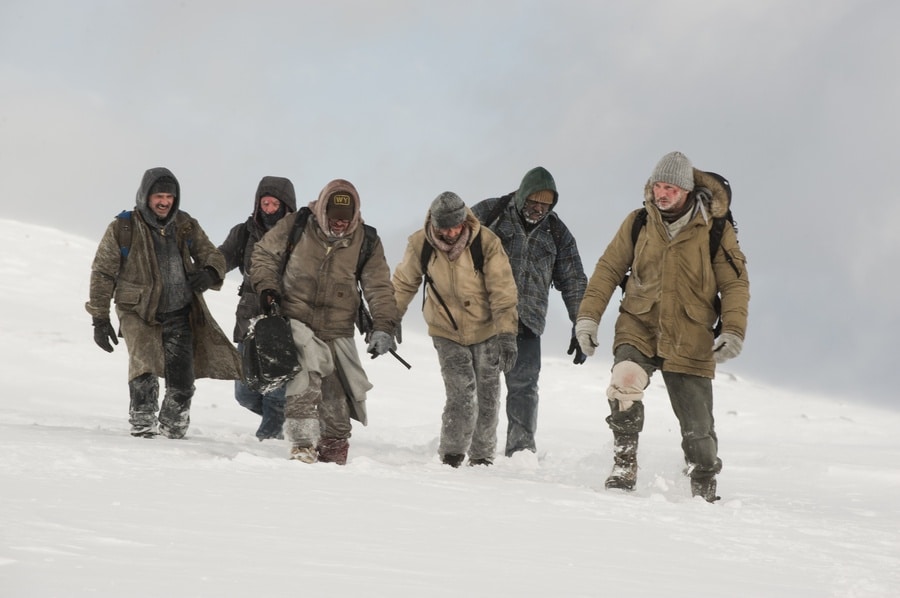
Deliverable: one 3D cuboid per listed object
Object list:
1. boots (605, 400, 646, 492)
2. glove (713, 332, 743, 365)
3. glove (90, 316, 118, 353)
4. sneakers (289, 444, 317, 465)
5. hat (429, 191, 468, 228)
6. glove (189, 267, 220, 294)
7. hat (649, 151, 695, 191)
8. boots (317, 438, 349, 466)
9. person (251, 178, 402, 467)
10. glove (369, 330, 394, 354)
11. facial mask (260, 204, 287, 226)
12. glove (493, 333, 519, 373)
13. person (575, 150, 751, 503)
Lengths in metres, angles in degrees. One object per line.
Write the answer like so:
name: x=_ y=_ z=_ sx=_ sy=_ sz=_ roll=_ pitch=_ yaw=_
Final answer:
boots: x=1.830 y=1.548 z=13.768 sx=0.383 sy=0.957 sz=0.354 roll=7 pitch=-6 yaw=7
glove: x=2.859 y=0.501 z=13.414 sx=0.358 sy=0.290 sz=0.265 roll=4 pitch=-7 yaw=33
glove: x=-3.915 y=0.402 z=14.683 sx=0.285 sy=0.250 sz=0.444 roll=9 pitch=-6 yaw=-15
sneakers: x=-1.556 y=1.662 z=13.908 sx=0.293 sy=0.164 sz=0.325 roll=8 pitch=-5 yaw=-6
hat: x=-0.020 y=-0.960 z=14.378 sx=0.431 sy=0.398 sz=0.358 roll=8 pitch=-6 yaw=-1
glove: x=-2.792 y=-0.192 z=14.804 sx=0.462 sy=0.337 sz=0.222 roll=-1 pitch=12 yaw=-9
hat: x=2.346 y=-1.352 z=13.793 sx=0.491 sy=0.416 sz=0.486 roll=11 pitch=12 yaw=8
boots: x=-1.295 y=1.745 z=14.564 sx=0.316 sy=0.300 sz=0.259 roll=-1 pitch=-5 yaw=24
person: x=-1.398 y=0.257 z=14.310 sx=1.603 sy=3.045 sz=0.858 roll=9 pitch=-6 yaw=-13
glove: x=-0.749 y=0.501 z=14.248 sx=0.305 sy=0.287 sz=0.265 roll=8 pitch=-6 yaw=-4
facial mask: x=-2.220 y=-1.024 z=16.274 sx=0.288 sy=0.235 sz=0.298 roll=1 pitch=-1 yaw=-4
glove: x=0.619 y=0.613 z=14.710 sx=0.252 sy=0.418 sz=0.451 roll=8 pitch=-6 yaw=2
person: x=2.283 y=0.282 z=13.752 sx=1.605 sy=3.576 sz=0.824 roll=7 pitch=-6 yaw=5
